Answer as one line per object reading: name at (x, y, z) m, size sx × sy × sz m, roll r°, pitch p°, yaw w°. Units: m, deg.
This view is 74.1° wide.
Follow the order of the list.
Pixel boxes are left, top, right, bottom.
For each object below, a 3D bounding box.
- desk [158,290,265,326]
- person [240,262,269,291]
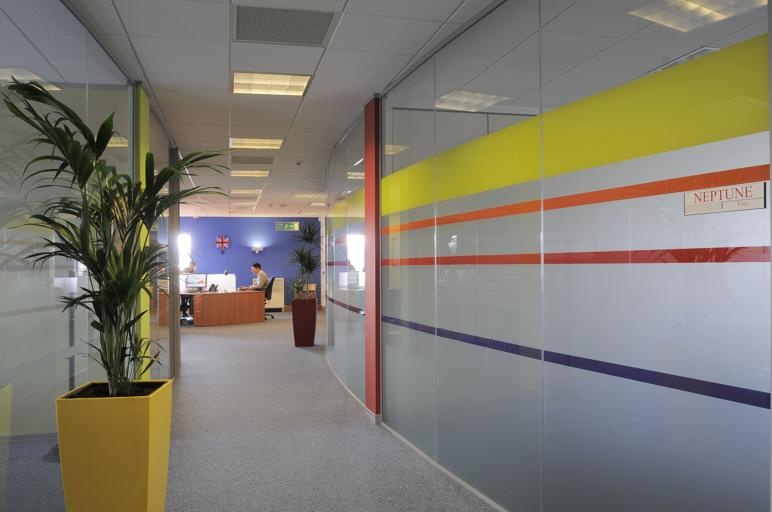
desk at (-4.724, 1.561, 14.193) m, size 2.731 × 0.973 × 1.884 m, roll -10°, pitch 2°, yaw -40°
person at (-3.994, 0.594, 15.835) m, size 0.703 × 0.755 × 2.268 m, roll 0°, pitch 1°, yaw -14°
